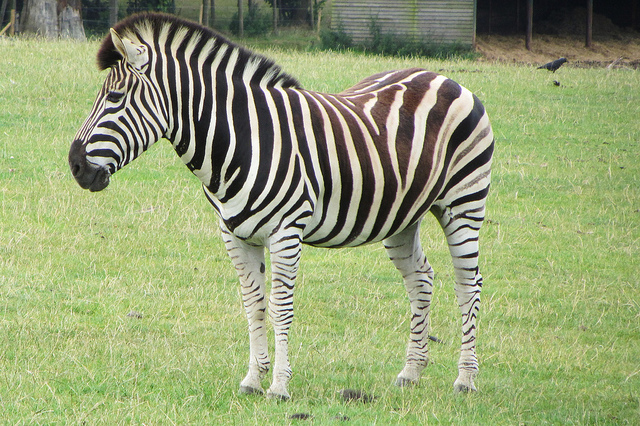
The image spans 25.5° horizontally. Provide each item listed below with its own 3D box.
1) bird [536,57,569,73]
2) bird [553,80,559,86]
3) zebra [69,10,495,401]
[{"bbox_3d":[6.543,-4.120,39.543,0.676,0.438,1.029,-3,17,-20],"label":"bird"},{"bbox_3d":[6.258,-3.391,37.473,0.122,0.115,0.177,5,16,8],"label":"bird"},{"bbox_3d":[-0.599,0.052,28.005,8.952,7.715,3.031,-1,3,-27],"label":"zebra"}]
